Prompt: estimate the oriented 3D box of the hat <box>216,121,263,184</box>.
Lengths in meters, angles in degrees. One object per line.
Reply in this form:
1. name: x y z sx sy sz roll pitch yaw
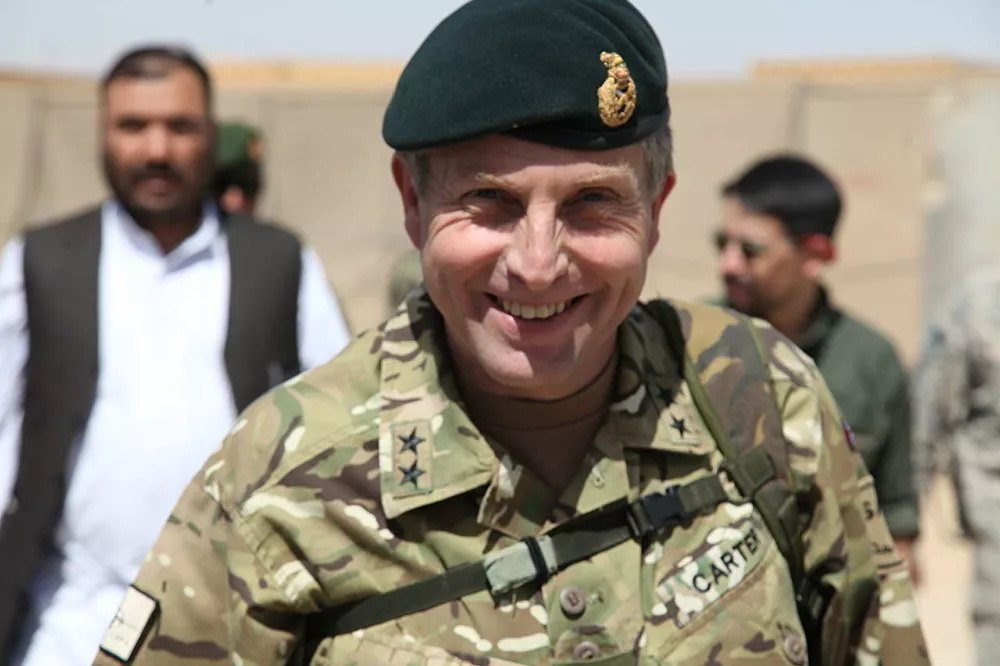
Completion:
1. hat: -1.551 -1.072 8.339 0.077 0.318 0.324 -2 -2 38
